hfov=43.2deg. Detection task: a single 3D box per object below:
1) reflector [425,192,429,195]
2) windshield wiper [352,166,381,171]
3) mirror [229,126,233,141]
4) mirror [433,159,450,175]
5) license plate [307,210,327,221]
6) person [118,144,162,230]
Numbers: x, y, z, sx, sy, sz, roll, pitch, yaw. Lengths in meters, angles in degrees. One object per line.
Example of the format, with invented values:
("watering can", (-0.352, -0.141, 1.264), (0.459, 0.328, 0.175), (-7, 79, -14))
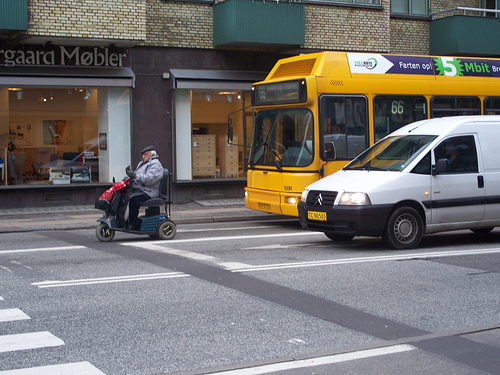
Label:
("reflector", (3.325, 0.111, 11.957), (0.044, 0.050, 0.011), (1, 2, 1))
("windshield wiper", (2.273, -0.369, 12.490), (0.033, 0.081, 0.494), (25, -17, -37))
("mirror", (-0.522, -1.393, 16.325), (0.087, 0.339, 0.153), (0, 5, 8))
("mirror", (3.593, -0.394, 11.828), (0.215, 0.301, 0.312), (3, 4, 13))
("license plate", (1.268, 0.535, 12.050), (0.093, 0.177, 0.522), (-3, 6, -30))
("person", (-2.338, 0.030, 13.364), (0.926, 1.737, 0.511), (-1, 4, -11))
